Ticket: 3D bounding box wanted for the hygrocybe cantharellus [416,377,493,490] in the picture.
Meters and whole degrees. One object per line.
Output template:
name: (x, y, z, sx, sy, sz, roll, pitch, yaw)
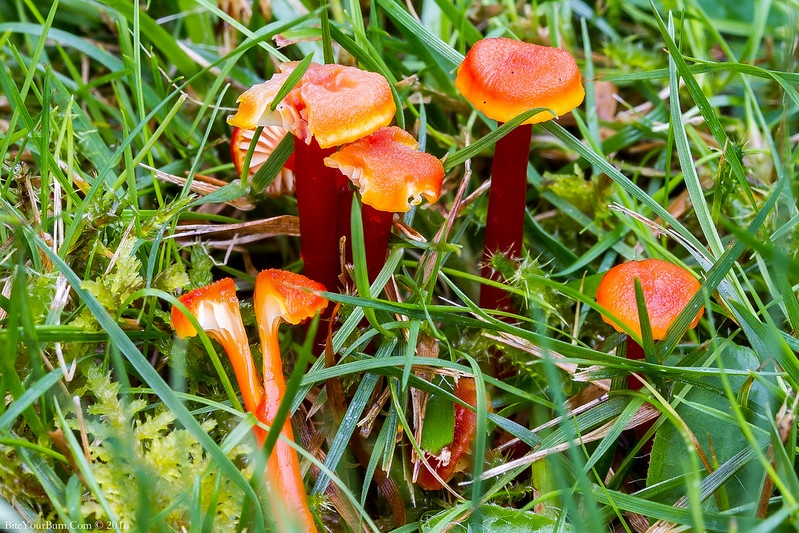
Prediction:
hygrocybe cantharellus: (0.152, 0.433, 1.946, 0.163, 0.064, 0.294, 24, 100, 48)
